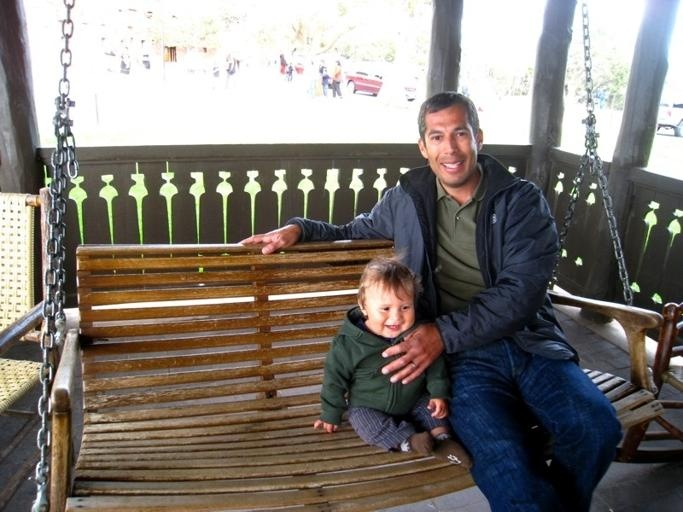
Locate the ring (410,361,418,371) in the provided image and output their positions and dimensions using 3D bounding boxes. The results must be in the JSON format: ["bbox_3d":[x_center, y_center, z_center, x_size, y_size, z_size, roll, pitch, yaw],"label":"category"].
[{"bbox_3d":[0.306,0.463,1.926,0.030,0.025,0.012,-4,15,-16],"label":"ring"}]

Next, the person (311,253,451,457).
[{"bbox_3d":[0.126,0.353,2.179,0.710,0.943,0.742,-6,9,-16],"label":"person"}]
